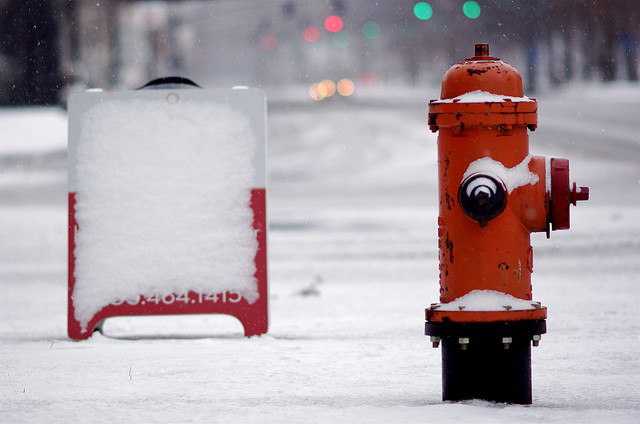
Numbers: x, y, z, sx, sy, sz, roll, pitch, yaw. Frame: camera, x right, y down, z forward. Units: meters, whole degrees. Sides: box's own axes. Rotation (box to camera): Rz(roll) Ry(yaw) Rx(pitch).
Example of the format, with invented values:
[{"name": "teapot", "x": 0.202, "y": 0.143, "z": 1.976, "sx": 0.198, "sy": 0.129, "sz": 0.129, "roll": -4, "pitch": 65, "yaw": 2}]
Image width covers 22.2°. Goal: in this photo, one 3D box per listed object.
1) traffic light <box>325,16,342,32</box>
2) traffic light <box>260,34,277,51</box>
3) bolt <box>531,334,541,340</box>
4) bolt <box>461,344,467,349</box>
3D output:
[{"name": "traffic light", "x": 0.272, "y": -4.049, "z": 34.730, "sx": 0.318, "sy": 0.308, "sz": 0.074, "roll": 4, "pitch": 4, "yaw": 30}, {"name": "traffic light", "x": -1.096, "y": -3.612, "z": 34.424, "sx": 0.378, "sy": 0.346, "sz": 0.084, "roll": 2, "pitch": 2, "yaw": 16}, {"name": "bolt", "x": 3.015, "y": 1.761, "z": 22.848, "sx": 0.114, "sy": 0.070, "sz": 0.057, "roll": 0, "pitch": -7, "yaw": -1}, {"name": "bolt", "x": 2.001, "y": 1.884, "z": 22.777, "sx": 0.079, "sy": 0.073, "sz": 0.034, "roll": 0, "pitch": 15, "yaw": 4}]
